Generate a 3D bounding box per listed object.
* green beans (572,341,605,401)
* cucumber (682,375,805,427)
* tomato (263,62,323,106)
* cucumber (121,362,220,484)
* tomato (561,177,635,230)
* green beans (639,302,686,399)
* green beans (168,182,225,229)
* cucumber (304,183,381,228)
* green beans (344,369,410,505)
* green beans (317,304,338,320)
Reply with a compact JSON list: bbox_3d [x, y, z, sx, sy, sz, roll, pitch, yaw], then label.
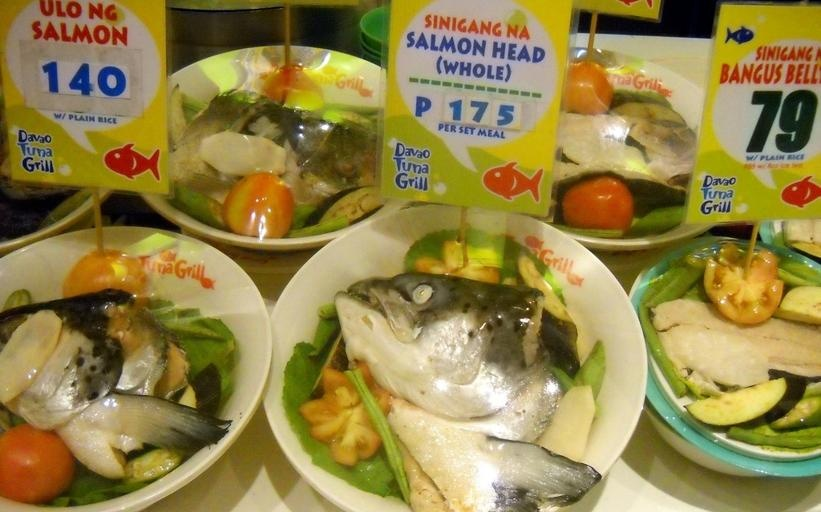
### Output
[{"bbox_3d":[0.438,0.284,1.574,0.073,0.125,0.030,7,-24,39],"label":"green beans"},{"bbox_3d":[0.798,0.340,1.573,0.326,0.097,0.081,-12,5,-10],"label":"cucumber"},{"bbox_3d":[-0.392,-0.556,2.108,0.161,0.079,0.174,26,45,11],"label":"tomato"},{"bbox_3d":[-0.530,0.395,1.477,0.116,0.190,0.248,18,25,30],"label":"cucumber"},{"bbox_3d":[0.542,-0.120,1.892,0.165,0.169,0.156,4,-7,-26],"label":"tomato"},{"bbox_3d":[0.626,0.245,1.673,0.054,0.041,0.251,16,44,-50],"label":"green beans"},{"bbox_3d":[-0.611,-0.142,1.876,0.191,0.095,0.062,35,-17,-2],"label":"green beans"},{"bbox_3d":[-0.197,-0.144,1.847,0.167,0.041,0.114,-32,28,-1],"label":"cucumber"},{"bbox_3d":[-0.064,0.419,1.493,0.045,0.071,0.432,-22,61,-5],"label":"green beans"},{"bbox_3d":[-0.214,0.144,1.641,0.039,0.036,0.041,-32,-8,24],"label":"green beans"}]
